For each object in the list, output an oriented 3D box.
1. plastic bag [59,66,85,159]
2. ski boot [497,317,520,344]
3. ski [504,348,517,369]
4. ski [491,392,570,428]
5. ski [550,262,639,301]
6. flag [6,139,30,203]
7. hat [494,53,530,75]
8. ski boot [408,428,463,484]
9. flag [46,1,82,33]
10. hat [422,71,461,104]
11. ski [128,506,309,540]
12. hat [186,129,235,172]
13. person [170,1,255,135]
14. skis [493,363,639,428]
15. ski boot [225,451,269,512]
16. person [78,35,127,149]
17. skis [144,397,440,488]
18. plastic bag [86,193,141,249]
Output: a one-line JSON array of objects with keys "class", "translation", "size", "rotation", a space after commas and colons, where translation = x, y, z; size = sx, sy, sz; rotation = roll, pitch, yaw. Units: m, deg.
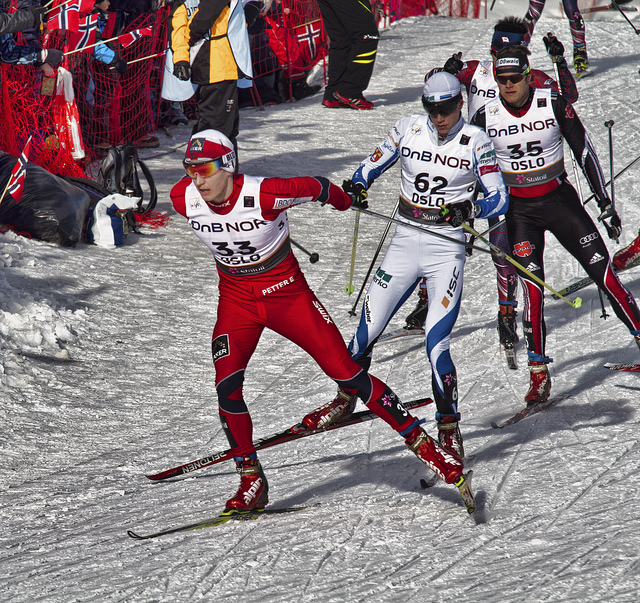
[{"class": "plastic bag", "translation": [-2.224, -1.651, 7.410], "size": [0.108, 0.799, 0.258], "rotation": [-8, 14, -13]}, {"class": "ski boot", "translation": [1.346, 0.218, 5.957], "size": [0.125, 0.192, 0.220], "rotation": [-2, 12, 9]}, {"class": "ski", "translation": [1.331, 0.407, 5.790], "size": [0.052, 0.135, 0.037], "rotation": [-26, -28, 12]}, {"class": "ski", "translation": [1.280, 0.664, 5.000], "size": [0.459, 0.038, 0.059], "rotation": [-19, 20, -24]}, {"class": "ski", "translation": [2.087, -0.129, 6.239], "size": [0.756, 0.063, 0.095], "rotation": [-19, -21, 1]}, {"class": "flag", "translation": [-2.207, -0.917, 6.050], "size": [0.204, 0.437, 0.857], "rotation": [-9, 12, -19]}, {"class": "hat", "translation": [1.111, -1.357, 4.808], "size": [0.195, 0.115, 0.119], "rotation": [-1, 12, 9]}, {"class": "ski boot", "translation": [0.554, 0.715, 3.890], "size": [0.263, 0.220, 0.112], "rotation": [7, 17, 40]}, {"class": "flag", "translation": [-2.314, -2.551, 7.496], "size": [0.330, 0.250, 0.144], "rotation": [-8, 13, -24]}, {"class": "hat", "translation": [0.616, -1.075, 4.247], "size": [0.187, 0.164, 0.168], "rotation": [1, 12, 18]}, {"class": "ski", "translation": [-0.452, 1.017, 3.796], "size": [0.785, 0.046, 0.093], "rotation": [-3, 0, -24]}, {"class": "hat", "translation": [-0.468, -0.670, 3.740], "size": [0.195, 0.163, 0.230], "rotation": [7, 28, 22]}, {"class": "person", "translation": [-0.917, -2.010, 7.249], "size": [0.711, 1.145, 0.469], "rotation": [-8, 14, -16]}, {"class": "skis", "translation": [1.538, 0.592, 5.104], "size": [1.194, 0.063, 0.116], "rotation": [-13, 28, -22]}, {"class": "ski boot", "translation": [-0.361, 0.844, 3.831], "size": [0.139, 0.258, 0.331], "rotation": [-12, -7, 21]}, {"class": "person", "translation": [-2.196, -2.057, 8.317], "size": [0.486, 1.089, 1.007], "rotation": [-8, 13, -14]}, {"class": "skis", "translation": [-0.135, 0.793, 4.541], "size": [1.786, 0.092, 0.157], "rotation": [-13, 15, -8]}, {"class": "plastic bag", "translation": [-1.845, -0.675, 7.251], "size": [0.674, 0.469, 0.366], "rotation": [2, 2, 1]}]
